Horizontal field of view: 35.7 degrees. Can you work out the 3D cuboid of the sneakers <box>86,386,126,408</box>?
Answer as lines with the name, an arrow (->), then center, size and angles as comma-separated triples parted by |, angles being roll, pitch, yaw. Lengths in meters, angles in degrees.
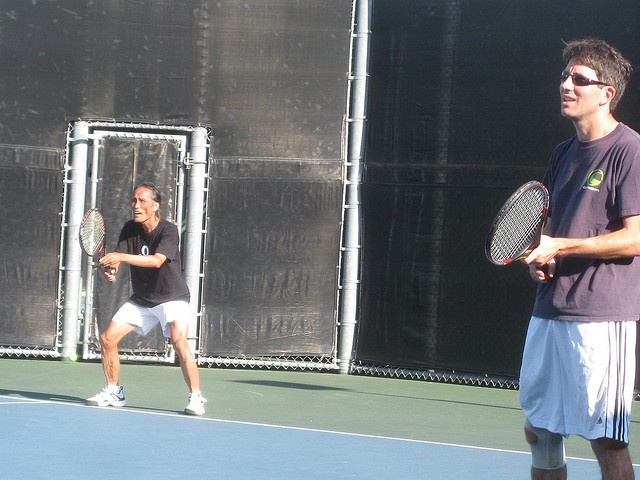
sneakers -> -1.681, 1.253, 7.909 | 0.335, 0.178, 0.136 | 7, -6, -19

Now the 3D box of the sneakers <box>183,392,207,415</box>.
sneakers -> -0.968, 1.293, 7.864 | 0.091, 0.131, 0.272 | 1, -6, 18
